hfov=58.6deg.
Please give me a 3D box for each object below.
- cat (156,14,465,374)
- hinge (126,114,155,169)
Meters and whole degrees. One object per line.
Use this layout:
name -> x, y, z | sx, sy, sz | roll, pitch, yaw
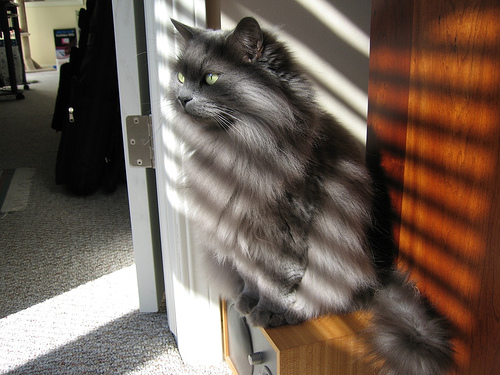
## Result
cat -> 0.181, 0.058, 1.444 | 0.842, 1.081, 0.877 | -5, 13, -28
hinge -> -0.349, -0.146, 1.419 | 0.118, 0.199, 0.044 | -3, 23, -3
